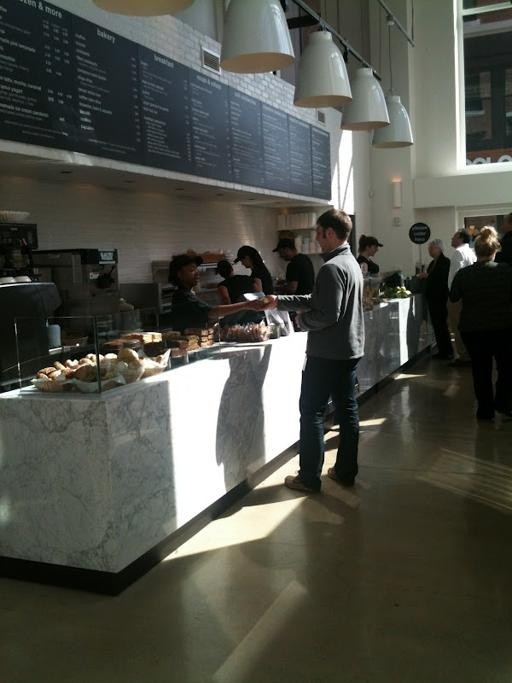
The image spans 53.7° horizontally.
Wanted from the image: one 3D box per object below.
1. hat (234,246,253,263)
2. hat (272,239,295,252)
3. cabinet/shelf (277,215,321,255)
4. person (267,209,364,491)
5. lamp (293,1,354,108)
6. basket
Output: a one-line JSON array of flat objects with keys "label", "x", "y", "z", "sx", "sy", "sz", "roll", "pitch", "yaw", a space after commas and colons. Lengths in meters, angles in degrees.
[{"label": "hat", "x": -0.162, "y": -0.929, "z": 5.441, "sx": 0.235, "sy": 0.134, "sz": 0.167, "roll": -20, "pitch": 3, "yaw": 28}, {"label": "hat", "x": 0.269, "y": -1.106, "z": 5.814, "sx": 0.311, "sy": 0.182, "sz": 0.232, "roll": 2, "pitch": 11, "yaw": 15}, {"label": "cabinet/shelf", "x": 0.718, "y": -1.842, "z": 8.626, "sx": 0.631, "sy": 0.604, "sz": 0.391, "roll": 3, "pitch": 6, "yaw": 6}, {"label": "person", "x": 0.378, "y": 0.076, "z": 3.054, "sx": 0.550, "sy": 1.646, "sz": 0.596, "roll": -3, "pitch": 0, "yaw": 12}, {"label": "lamp", "x": 0.383, "y": -1.703, "z": 3.075, "sx": 0.342, "sy": 0.605, "sz": 0.390, "roll": -3, "pitch": 0, "yaw": 11}, {"label": "basket", "x": -0.626, "y": 0.124, "z": 2.128, "sx": 0.579, "sy": 0.176, "sz": 0.350, "roll": -4, "pitch": 1, "yaw": -25}]
